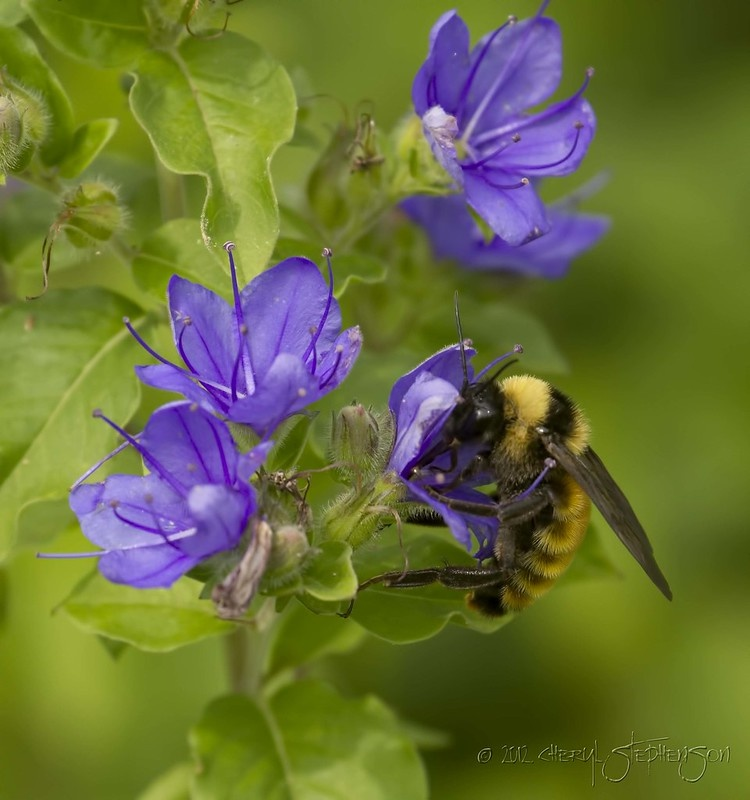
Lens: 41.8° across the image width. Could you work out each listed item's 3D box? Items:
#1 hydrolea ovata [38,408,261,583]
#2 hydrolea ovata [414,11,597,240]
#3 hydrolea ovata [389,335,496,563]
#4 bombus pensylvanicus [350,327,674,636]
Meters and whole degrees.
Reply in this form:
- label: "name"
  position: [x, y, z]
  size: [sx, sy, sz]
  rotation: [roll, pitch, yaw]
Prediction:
- label: "hydrolea ovata"
  position: [-0.373, 0.170, 1.693]
  size: [0.459, 0.352, 0.194]
  rotation: [7, 9, 40]
- label: "hydrolea ovata"
  position: [0.276, -0.589, 2.123]
  size: [0.404, 0.511, 0.287]
  rotation: [-6, 10, -44]
- label: "hydrolea ovata"
  position: [0.150, 0.133, 2.107]
  size: [0.323, 0.220, 0.425]
  rotation: [40, 6, -22]
- label: "bombus pensylvanicus"
  position: [0.239, 0.312, 2.411]
  size: [0.475, 0.959, 0.783]
  rotation: [9, 27, 9]
